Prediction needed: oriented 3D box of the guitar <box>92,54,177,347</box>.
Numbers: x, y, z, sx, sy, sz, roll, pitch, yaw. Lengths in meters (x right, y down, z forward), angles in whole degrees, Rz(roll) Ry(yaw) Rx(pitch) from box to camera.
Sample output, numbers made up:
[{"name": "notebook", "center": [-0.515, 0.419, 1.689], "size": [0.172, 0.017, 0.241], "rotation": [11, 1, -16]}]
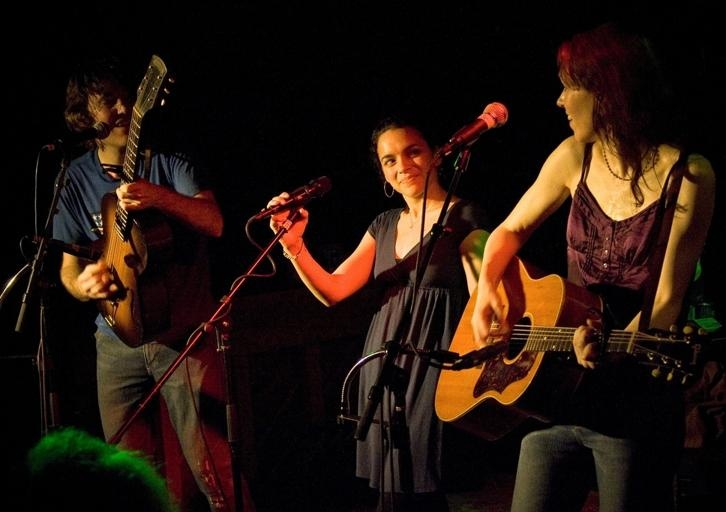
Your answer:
[{"name": "guitar", "center": [-1.238, -0.266, 3.954], "size": [0.310, 1.539, 0.760], "rotation": [8, -8, -35]}]

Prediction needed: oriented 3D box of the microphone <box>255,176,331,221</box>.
[{"name": "microphone", "center": [-0.473, -0.377, 4.555], "size": [0.490, 0.135, 0.157], "rotation": [-34, -39, -5]}]

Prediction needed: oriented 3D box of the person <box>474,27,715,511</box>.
[{"name": "person", "center": [1.064, 0.094, 3.216], "size": [0.979, 2.190, 0.454], "rotation": [0, -7, 28]}]

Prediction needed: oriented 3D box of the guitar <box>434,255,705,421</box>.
[{"name": "guitar", "center": [0.937, 0.412, 3.241], "size": [0.206, 0.884, 1.495], "rotation": [29, -15, -19]}]

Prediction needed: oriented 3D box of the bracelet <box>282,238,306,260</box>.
[{"name": "bracelet", "center": [-0.408, -0.051, 4.127], "size": [0.088, 0.135, 0.037], "rotation": [5, 12, 34]}]
